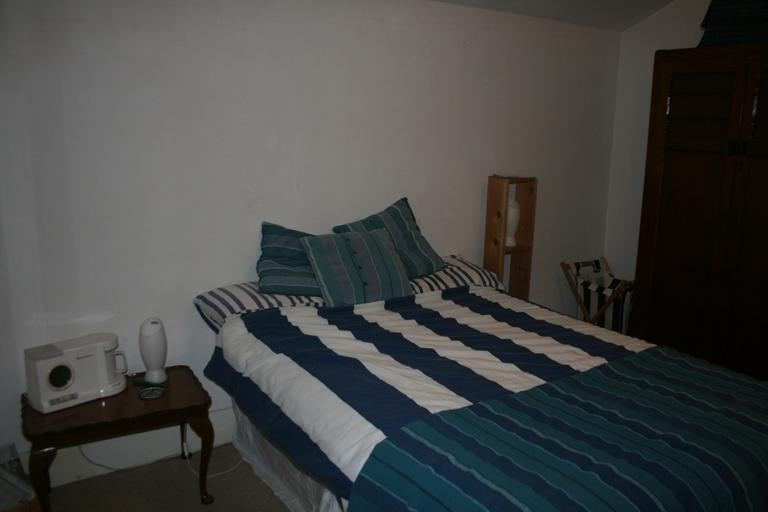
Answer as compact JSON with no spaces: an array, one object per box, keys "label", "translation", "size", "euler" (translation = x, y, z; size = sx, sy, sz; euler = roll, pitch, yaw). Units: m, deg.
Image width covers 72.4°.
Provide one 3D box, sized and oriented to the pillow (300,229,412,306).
[{"label":"pillow","translation":[-0.193,0.079,3.317],"size":[0.557,0.509,0.153],"euler":[-12,-17,-30]}]
